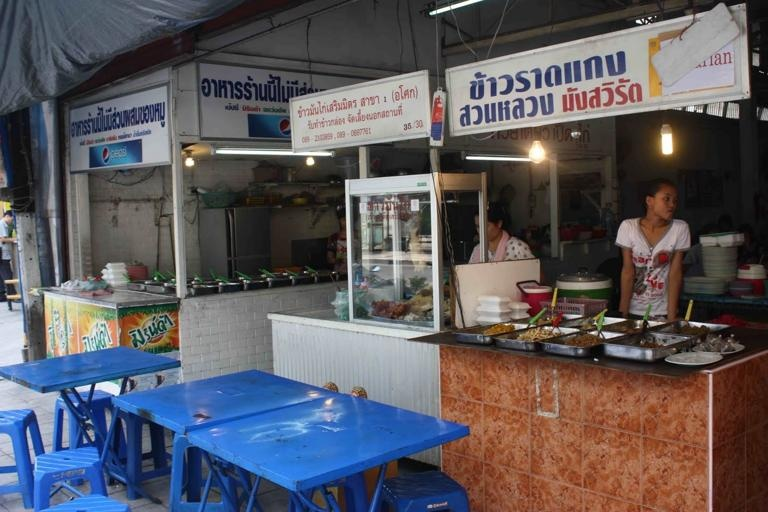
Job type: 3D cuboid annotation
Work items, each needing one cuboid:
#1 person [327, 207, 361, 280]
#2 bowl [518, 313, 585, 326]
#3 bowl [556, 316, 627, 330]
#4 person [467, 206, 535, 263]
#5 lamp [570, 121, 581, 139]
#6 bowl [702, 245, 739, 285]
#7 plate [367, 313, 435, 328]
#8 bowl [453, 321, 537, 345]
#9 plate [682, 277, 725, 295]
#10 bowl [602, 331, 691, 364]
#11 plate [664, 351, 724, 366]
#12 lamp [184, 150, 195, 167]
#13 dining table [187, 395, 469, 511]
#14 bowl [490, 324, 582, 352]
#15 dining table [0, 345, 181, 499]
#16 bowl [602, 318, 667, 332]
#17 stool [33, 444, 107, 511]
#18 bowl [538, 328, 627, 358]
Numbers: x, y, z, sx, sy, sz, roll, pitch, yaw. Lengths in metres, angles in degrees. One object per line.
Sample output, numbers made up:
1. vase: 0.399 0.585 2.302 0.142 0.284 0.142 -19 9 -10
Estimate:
1. person: -0.701 -0.092 10.646 0.510 1.522 0.367 -1 0 -11
2. bowl: 1.454 0.510 4.924 0.307 0.092 0.199 -3 2 -41
3. bowl: 1.621 0.527 4.857 0.298 0.088 0.185 -5 7 -26
4. person: 1.146 -0.153 6.280 0.568 0.649 0.825 1 -5 -35
5. lamp: 3.201 -2.076 10.222 0.280 0.278 0.067 -7 5 -44
6. bowl: 4.150 0.088 7.570 0.451 0.422 0.431 0 2 0
7. plate: 0.223 0.597 5.625 0.560 0.117 0.058 -5 -4 36
8. bowl: 0.837 0.587 4.794 0.417 0.054 0.220 -6 7 -44
9. plate: 3.942 0.369 7.548 0.266 0.110 0.327 -1 1 -42
10. bowl: 1.833 0.618 4.267 0.596 0.111 0.403 -6 5 -39
11. plate: 2.032 0.674 4.010 0.365 0.045 0.199 -2 4 12
12. lamp: -2.918 -1.470 9.194 0.162 0.278 0.158 -6 9 -38
13. dining table: -0.378 1.239 3.978 1.391 0.302 1.079 -5 5 -33
14. bowl: 1.126 0.588 4.548 0.419 0.055 0.250 -9 10 -42
15. dining table: -2.689 1.500 5.718 1.240 1.109 1.244 3 6 38
16. bowl: 1.941 0.544 4.754 0.217 0.050 0.227 -3 6 0
17. stool: -2.593 1.691 5.080 0.669 0.510 0.645 0 -2 -29
18. bowl: 1.422 0.602 4.360 0.243 0.060 0.453 5 9 44
